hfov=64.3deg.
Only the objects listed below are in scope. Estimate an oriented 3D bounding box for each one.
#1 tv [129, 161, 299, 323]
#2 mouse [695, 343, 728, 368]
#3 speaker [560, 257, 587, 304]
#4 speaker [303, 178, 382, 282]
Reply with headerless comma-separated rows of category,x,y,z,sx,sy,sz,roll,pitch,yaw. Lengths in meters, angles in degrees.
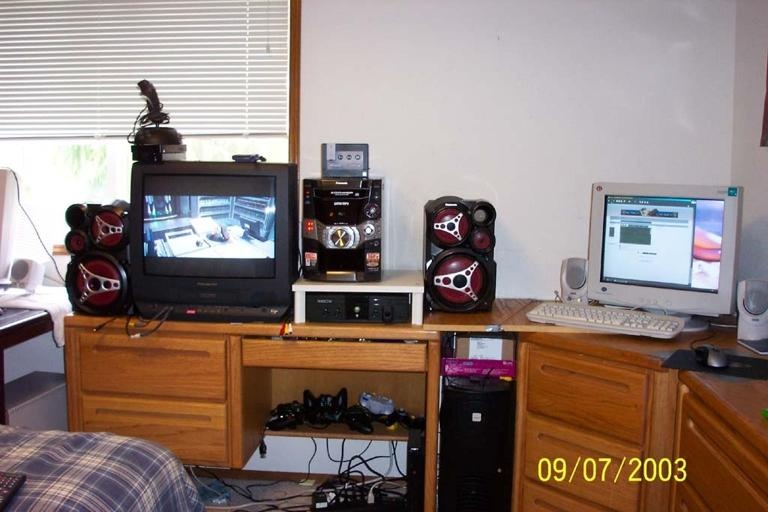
tv,-0.771,-0.061,3.255,0.892,0.817,0.734,0,1,1
mouse,1.326,0.411,2.485,0.118,0.076,0.074,6,10,39
speaker,0.945,0.121,3.042,0.126,0.218,0.063,2,8,17
speaker,-0.202,-0.119,3.002,0.483,0.632,0.447,0,0,2
